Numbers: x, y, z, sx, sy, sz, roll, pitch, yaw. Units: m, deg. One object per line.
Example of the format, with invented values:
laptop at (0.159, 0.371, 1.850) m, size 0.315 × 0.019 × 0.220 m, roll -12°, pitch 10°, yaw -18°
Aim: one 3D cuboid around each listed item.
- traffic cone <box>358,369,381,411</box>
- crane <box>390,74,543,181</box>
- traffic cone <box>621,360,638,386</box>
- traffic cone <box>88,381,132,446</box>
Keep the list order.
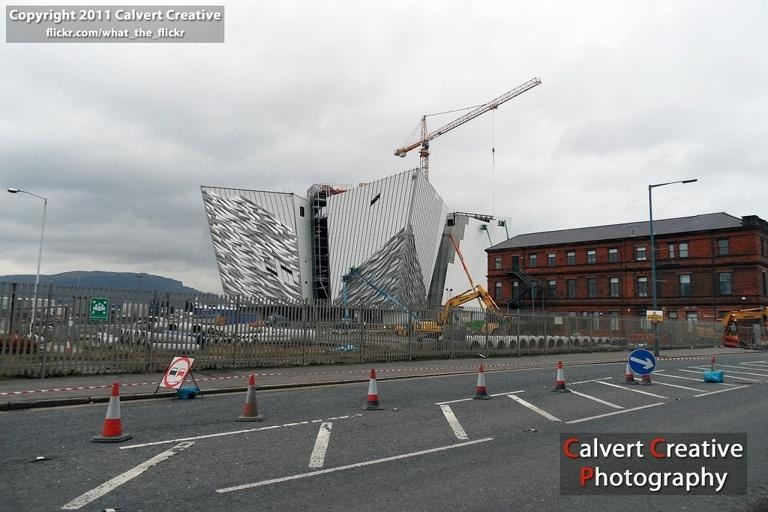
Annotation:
traffic cone at (-0.314, 3.456, 15.129) m, size 0.751 × 0.964 × 0.786 m, roll 6°, pitch -8°, yaw -26°
crane at (15.147, -22.014, 106.762) m, size 30.401 × 20.363 × 3.436 m, roll -22°, pitch -43°, yaw 26°
traffic cone at (8.678, 4.076, 20.322) m, size 0.463 × 0.722 × 1.409 m, roll -2°, pitch -7°, yaw 22°
traffic cone at (-5.626, 3.302, 11.941) m, size 0.771 × 1.268 × 0.753 m, roll -1°, pitch 0°, yaw 6°
